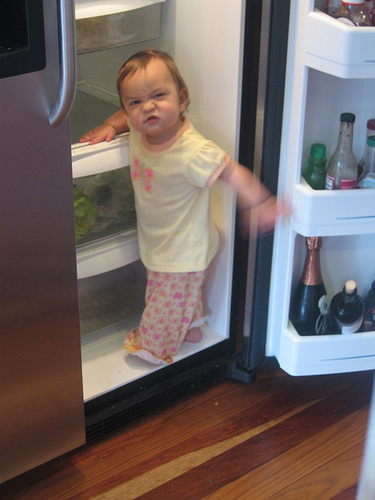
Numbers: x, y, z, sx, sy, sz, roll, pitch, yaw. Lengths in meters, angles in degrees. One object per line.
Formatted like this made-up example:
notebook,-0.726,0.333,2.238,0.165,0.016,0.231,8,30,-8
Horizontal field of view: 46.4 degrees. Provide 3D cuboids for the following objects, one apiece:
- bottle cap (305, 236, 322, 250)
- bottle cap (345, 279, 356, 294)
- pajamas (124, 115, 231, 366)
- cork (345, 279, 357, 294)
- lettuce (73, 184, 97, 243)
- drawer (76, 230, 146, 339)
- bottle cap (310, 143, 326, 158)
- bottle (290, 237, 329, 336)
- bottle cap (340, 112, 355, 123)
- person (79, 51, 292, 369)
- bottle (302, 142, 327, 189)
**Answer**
bottle cap,0.309,-0.017,1.061,0.025,0.034,0.031,7,-11,10
bottle cap,0.402,0.091,1.076,0.019,0.021,0.019,-28,65,-11
pajamas,-0.041,-0.014,1.110,0.267,0.614,0.205,-3,23,-5
cork,0.404,0.091,1.079,0.019,0.022,0.019,40,69,22
lettuce,-0.260,-0.092,1.128,0.037,0.133,0.120,-7,-10,27
drawer,-0.213,0.090,1.185,0.230,0.216,0.125,-19,36,-27
bottle cap,0.285,-0.215,0.950,0.030,0.022,0.030,32,49,33
bottle,0.328,0.085,1.124,0.111,0.271,0.073,0,23,0
bottle cap,0.331,-0.273,0.902,0.024,0.012,0.024,5,34,7
person,-0.050,-0.063,1.125,0.278,0.790,0.619,-24,41,-36
bottle,0.286,-0.192,0.992,0.038,0.101,0.069,-9,25,-20
